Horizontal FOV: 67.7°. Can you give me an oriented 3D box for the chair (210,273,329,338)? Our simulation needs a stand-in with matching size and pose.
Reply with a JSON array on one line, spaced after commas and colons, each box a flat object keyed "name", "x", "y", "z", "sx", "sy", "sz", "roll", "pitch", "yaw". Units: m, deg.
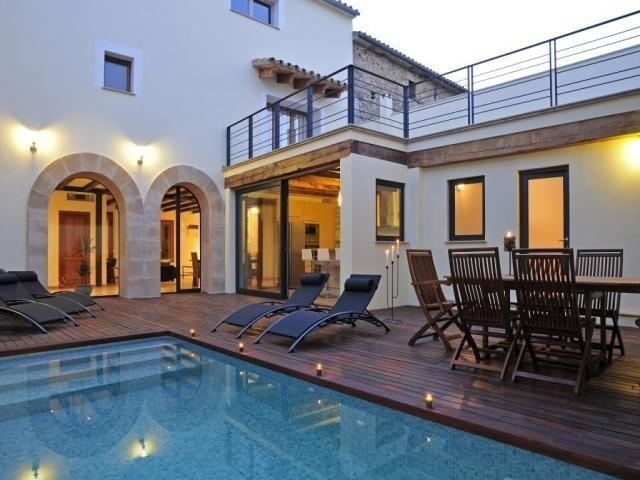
[{"name": "chair", "x": -0.787, "y": 1.027, "z": 8.049, "sx": 1.789, "sy": 0.804, "sz": 0.924, "roll": 1, "pitch": -2, "yaw": -38}]

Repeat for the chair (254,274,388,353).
[{"name": "chair", "x": 0.069, "y": 1.068, "z": 7.511, "sx": 1.926, "sy": 0.938, "sz": 0.978, "roll": -1, "pitch": -1, "yaw": -39}]

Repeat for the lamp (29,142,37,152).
[{"name": "lamp", "x": -6.203, "y": -2.006, "z": 10.349, "sx": 0.131, "sy": 0.229, "sz": 0.127, "roll": -1, "pitch": -1, "yaw": -35}]

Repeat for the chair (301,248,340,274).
[{"name": "chair", "x": 0.002, "y": 0.556, "z": 12.644, "sx": 0.643, "sy": 1.015, "sz": 0.996, "roll": 0, "pitch": -1, "yaw": -43}]

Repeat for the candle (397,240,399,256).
[{"name": "candle", "x": 1.654, "y": 0.158, "z": 10.230, "sx": 0.076, "sy": 0.274, "sz": 0.434, "roll": -2, "pitch": -2, "yaw": 9}]

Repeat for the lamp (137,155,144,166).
[{"name": "lamp", "x": -4.418, "y": -1.935, "z": 11.769, "sx": 0.150, "sy": 0.222, "sz": 0.110, "roll": -1, "pitch": -1, "yaw": -27}]
